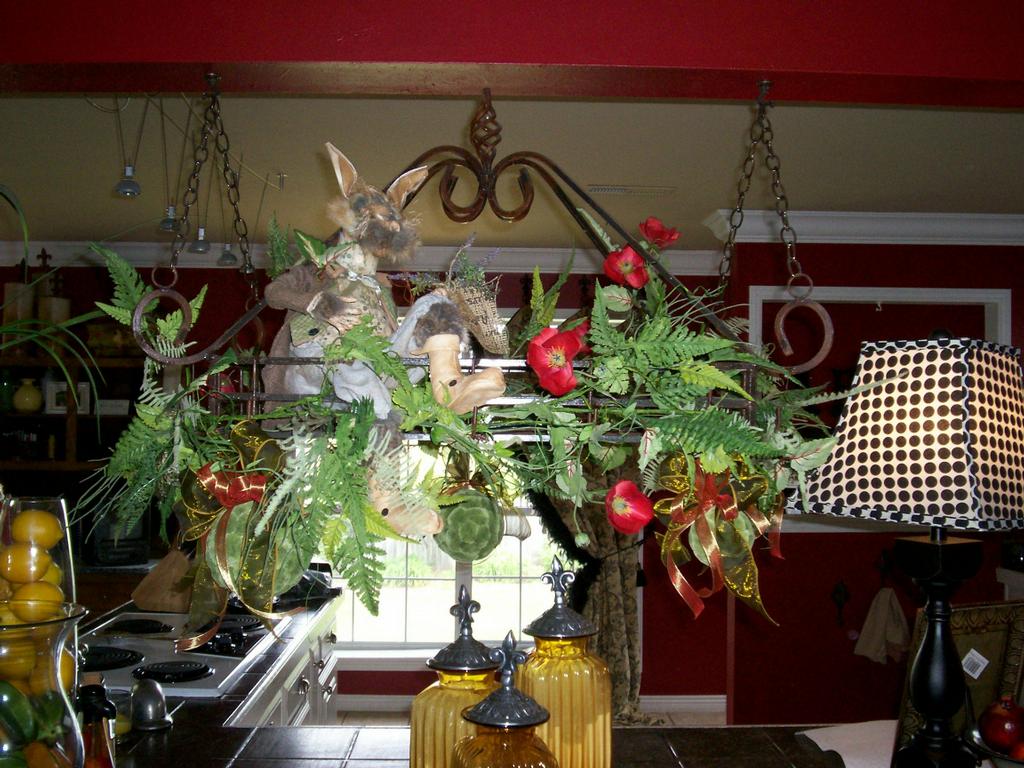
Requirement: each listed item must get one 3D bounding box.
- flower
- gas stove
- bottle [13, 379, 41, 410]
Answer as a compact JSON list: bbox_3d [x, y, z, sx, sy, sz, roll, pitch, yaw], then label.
[{"bbox_3d":[-0.100,0.035,2.132,1.080,0.602,1.065,-1,3,-3],"label":"flower"},{"bbox_3d":[-1.148,0.947,3.642,0.354,0.051,0.557,-14,16,-33],"label":"gas stove"},{"bbox_3d":[-2.668,0.072,5.830,0.164,0.214,0.159,1,-13,0],"label":"bottle"}]
